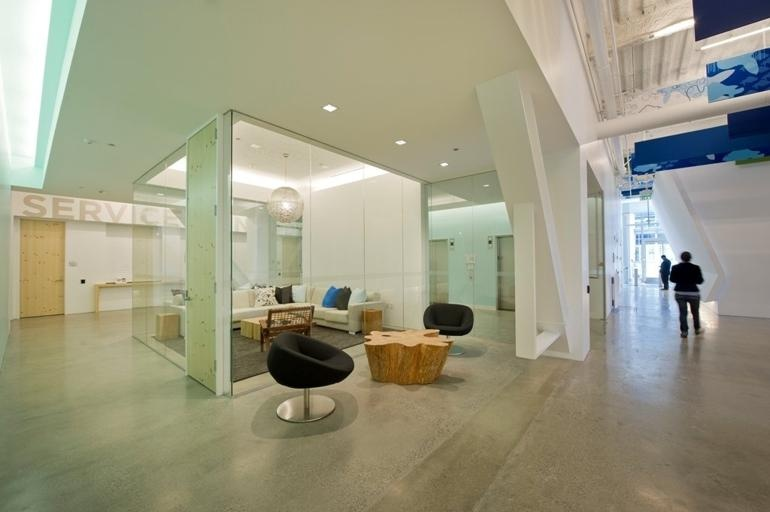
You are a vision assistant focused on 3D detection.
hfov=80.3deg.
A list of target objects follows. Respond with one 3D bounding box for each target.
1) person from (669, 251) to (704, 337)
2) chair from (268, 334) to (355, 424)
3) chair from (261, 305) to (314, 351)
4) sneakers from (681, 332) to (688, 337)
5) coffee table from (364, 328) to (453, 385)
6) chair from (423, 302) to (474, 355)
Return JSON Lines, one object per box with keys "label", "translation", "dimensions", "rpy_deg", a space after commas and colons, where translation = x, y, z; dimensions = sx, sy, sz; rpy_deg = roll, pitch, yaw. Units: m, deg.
{"label": "person", "translation": [6.506, 0.783, 9.786], "dimensions": [0.554, 1.770, 1.104], "rpy_deg": [-4, -4, 34]}
{"label": "chair", "translation": [-1.081, 1.740, 6.742], "dimensions": [1.244, 1.074, 1.260], "rpy_deg": [0, 3, 7]}
{"label": "chair", "translation": [-1.856, 1.200, 8.715], "dimensions": [0.957, 1.133, 0.830], "rpy_deg": [0, 0, -33]}
{"label": "sneakers", "translation": [6.167, 1.599, 9.398], "dimensions": [0.080, 0.142, 0.152], "rpy_deg": [1, -1, 37]}
{"label": "coffee table", "translation": [0.347, 1.641, 7.390], "dimensions": [1.003, 0.368, 0.871], "rpy_deg": [-2, 3, -14]}
{"label": "chair", "translation": [1.171, 1.344, 8.547], "dimensions": [0.959, 0.911, 0.879], "rpy_deg": [0, -3, 19]}
